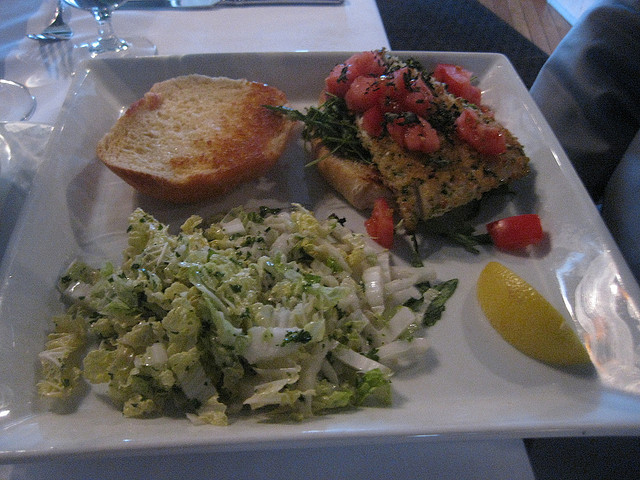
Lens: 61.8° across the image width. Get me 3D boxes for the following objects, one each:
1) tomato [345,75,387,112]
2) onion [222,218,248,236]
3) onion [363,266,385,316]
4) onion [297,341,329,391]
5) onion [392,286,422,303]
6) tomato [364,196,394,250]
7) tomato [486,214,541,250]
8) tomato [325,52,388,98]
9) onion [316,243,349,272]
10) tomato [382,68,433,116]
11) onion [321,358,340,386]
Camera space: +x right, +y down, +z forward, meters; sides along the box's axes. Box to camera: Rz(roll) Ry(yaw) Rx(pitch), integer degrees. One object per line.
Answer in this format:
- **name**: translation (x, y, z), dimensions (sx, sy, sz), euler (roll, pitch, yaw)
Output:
- **tomato**: translation (0.260, -0.857, 3.121), dimensions (0.180, 0.082, 0.210), euler (1, 74, 20)
- **onion**: translation (-0.447, -0.074, 2.801), dimensions (0.092, 0.025, 0.081), euler (-12, 51, -13)
- **onion**: translation (0.270, 0.264, 2.683), dimensions (0.103, 0.094, 0.301), euler (-3, 55, -1)
- **onion**: translation (-0.030, 0.569, 2.443), dimensions (0.124, 0.059, 0.214), euler (18, 54, -1)
- **onion**: translation (0.452, 0.282, 2.759), dimensions (0.129, 0.033, 0.080), euler (-33, 74, -19)
- **tomato**: translation (0.336, -0.082, 2.989), dimensions (0.076, 0.250, 0.211), euler (-11, 28, -25)
- **tomato**: translation (1.082, -0.078, 3.035), dimensions (0.287, 0.163, 0.353), euler (-10, 21, -33)
- **tomato**: translation (0.230, -1.047, 3.351), dimensions (0.304, 0.262, 0.417), euler (-16, 27, -33)
- **onion**: translation (0.077, 0.073, 2.740), dimensions (0.046, 0.116, 0.157), euler (-44, 72, -9)
- **tomato**: translation (0.511, -0.828, 3.033), dimensions (0.334, 0.253, 0.294), euler (-10, 19, -32)
- **onion**: translation (0.046, 0.599, 2.427), dimensions (0.039, 0.043, 0.166), euler (-27, 79, -7)
